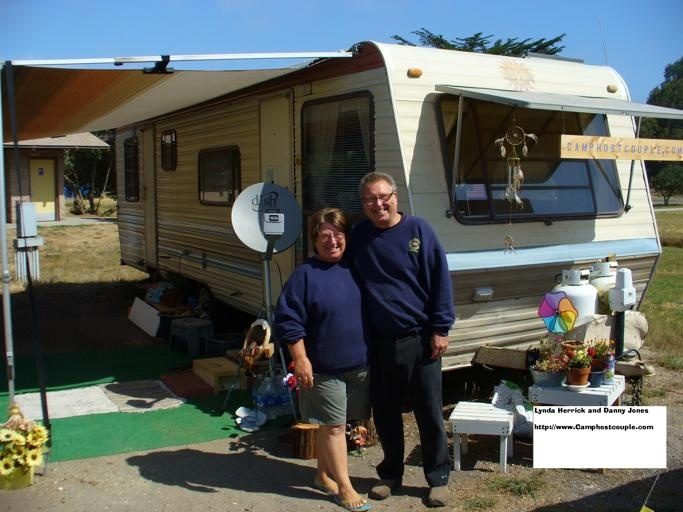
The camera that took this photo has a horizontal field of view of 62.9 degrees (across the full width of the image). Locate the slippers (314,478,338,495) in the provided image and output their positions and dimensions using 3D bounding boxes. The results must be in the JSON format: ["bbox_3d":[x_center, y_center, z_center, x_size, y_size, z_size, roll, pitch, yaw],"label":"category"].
[{"bbox_3d":[-0.108,1.628,3.936,0.084,0.068,0.173,0,-1,-42],"label":"slippers"}]

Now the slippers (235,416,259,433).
[{"bbox_3d":[-0.842,1.525,5.053,0.182,0.043,0.282,-4,9,-21],"label":"slippers"}]

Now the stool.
[{"bbox_3d":[1.137,1.396,4.451,0.472,0.381,0.475,3,12,17],"label":"stool"}]

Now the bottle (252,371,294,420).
[{"bbox_3d":[-0.605,1.305,5.211,0.325,0.379,0.429,-2,-3,-37],"label":"bottle"}]

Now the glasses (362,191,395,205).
[{"bbox_3d":[0.259,-0.384,3.768,0.221,0.111,0.097,-2,8,-8],"label":"glasses"}]

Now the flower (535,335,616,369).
[{"bbox_3d":[1.888,0.779,4.442,0.463,0.162,0.333,5,-6,-43],"label":"flower"}]

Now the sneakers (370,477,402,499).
[{"bbox_3d":[0.309,1.642,3.944,0.080,0.086,0.225,-5,-9,41],"label":"sneakers"}]

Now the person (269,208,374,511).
[{"bbox_3d":[-0.116,0.702,3.793,0.610,2.005,0.409,0,9,2],"label":"person"}]
